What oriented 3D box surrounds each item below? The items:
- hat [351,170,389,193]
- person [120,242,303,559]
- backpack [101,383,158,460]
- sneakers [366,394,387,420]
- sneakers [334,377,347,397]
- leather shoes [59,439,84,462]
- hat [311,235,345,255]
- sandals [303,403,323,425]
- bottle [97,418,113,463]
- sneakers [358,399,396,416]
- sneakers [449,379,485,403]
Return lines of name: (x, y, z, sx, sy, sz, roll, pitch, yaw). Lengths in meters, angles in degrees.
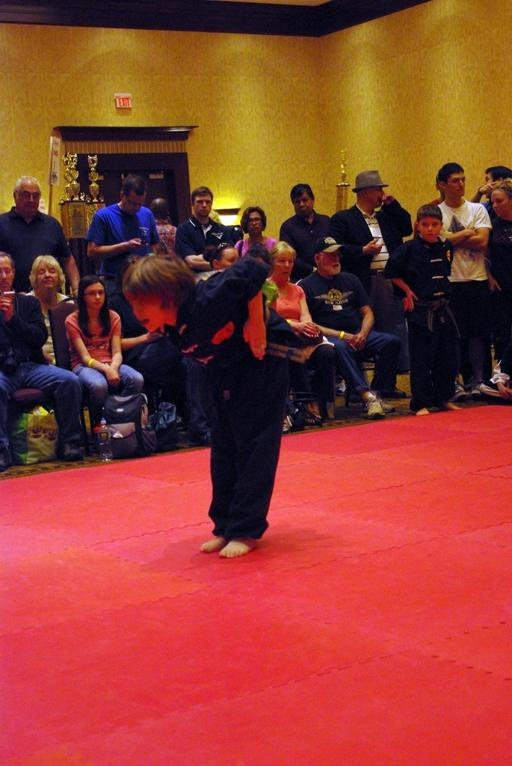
hat: (1.185, -2.118, 6.569, 0.325, 0.201, 0.392, -18, 2, -12)
person: (-0.112, 0.106, 2.261, 0.515, 1.139, 0.552, -5, 6, 8)
backpack: (-1.028, 0.320, 4.883, 0.519, 0.577, 0.361, -11, -5, 0)
sneakers: (1.097, 0.225, 5.605, 0.111, 0.130, 0.292, -6, 7, 2)
sneakers: (1.025, 0.031, 7.462, 0.193, 0.211, 0.234, 0, -3, 0)
leather shoes: (-1.506, 0.546, 4.946, 0.134, 0.149, 0.261, -8, 6, -31)
hat: (0.681, -1.309, 5.912, 0.189, 0.153, 0.274, -13, -2, -33)
sandals: (0.505, 0.276, 5.492, 0.147, 0.192, 0.067, -13, 9, -39)
bottle: (-1.213, 0.448, 4.872, 0.091, 0.315, 0.252, -8, 6, -22)
sneakers: (1.139, 0.245, 5.762, 0.137, 0.145, 0.341, -3, -10, -9)
sneakers: (2.113, 0.101, 6.163, 0.164, 0.192, 0.465, -1, -2, -9)
